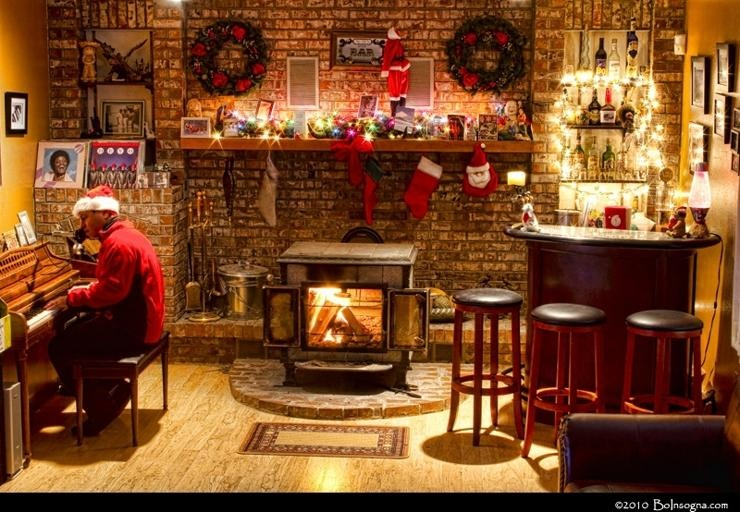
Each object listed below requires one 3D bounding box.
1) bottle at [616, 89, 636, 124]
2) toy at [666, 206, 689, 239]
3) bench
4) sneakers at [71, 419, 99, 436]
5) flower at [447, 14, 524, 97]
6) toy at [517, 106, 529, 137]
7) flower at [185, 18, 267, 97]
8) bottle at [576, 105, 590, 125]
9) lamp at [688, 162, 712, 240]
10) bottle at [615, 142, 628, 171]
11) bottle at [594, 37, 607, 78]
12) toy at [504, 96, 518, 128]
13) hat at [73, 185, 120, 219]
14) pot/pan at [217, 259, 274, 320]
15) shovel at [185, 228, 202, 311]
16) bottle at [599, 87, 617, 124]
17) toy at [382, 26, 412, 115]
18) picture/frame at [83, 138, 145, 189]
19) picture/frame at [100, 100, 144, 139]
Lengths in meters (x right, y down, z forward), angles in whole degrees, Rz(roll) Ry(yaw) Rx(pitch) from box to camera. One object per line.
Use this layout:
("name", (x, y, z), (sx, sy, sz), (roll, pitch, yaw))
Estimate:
("bottle", (2.596, -1.500, 6.082), (0.151, 0.353, 0.139), (0, 11, 0))
("toy", (2.249, -0.251, 4.401), (0.118, 0.216, 0.255), (4, 12, 17))
("bench", (-1.941, 1.039, 4.717), (0.576, 0.689, 0.655), (0, 11, -4))
("sneakers", (-2.185, 1.339, 4.663), (0.206, 0.125, 0.127), (0, 7, 11))
("flower", (1.186, -2.031, 6.146), (0.784, 0.725, 0.207), (3, 11, 11))
("toy", (1.578, -1.347, 6.125), (0.153, 0.320, 0.242), (3, 11, 12))
("flower", (-1.462, -2.030, 6.088), (0.779, 0.783, 0.218), (1, 8, -3))
("bottle", (2.174, -1.403, 6.073), (0.155, 0.197, 0.177), (3, 11, 11))
("lamp", (2.457, -0.429, 4.464), (0.149, 0.525, 0.765), (6, 12, 28))
("bottle", (2.562, -0.995, 6.095), (0.122, 0.270, 0.174), (4, 12, 20))
("bottle", (2.330, -1.993, 6.062), (0.132, 0.384, 0.232), (4, 12, 19))
("toy", (1.443, -1.439, 6.118), (0.147, 0.250, 0.191), (2, 11, 10))
("hat", (-2.165, -0.413, 4.835), (0.326, 0.212, 0.326), (0, -2, 12))
("pot/pan", (-1.247, 0.340, 6.181), (0.540, 0.543, 0.530), (1, 7, -8))
("shovel", (-1.840, 0.161, 6.311), (0.218, 0.914, 0.137), (-4, -13, 10))
("bottle", (2.403, -1.500, 6.046), (0.149, 0.371, 0.195), (5, 12, 21))
("toy", (0.254, -1.823, 6.032), (0.264, 0.848, 0.139), (0, 11, 0))
("picture/frame", (-2.559, -0.905, 6.159), (0.520, 0.476, 0.499), (0, -2, -2))
("picture/frame", (-2.610, -1.430, 6.390), (0.433, 0.401, 0.031), (2, -1, -3))
